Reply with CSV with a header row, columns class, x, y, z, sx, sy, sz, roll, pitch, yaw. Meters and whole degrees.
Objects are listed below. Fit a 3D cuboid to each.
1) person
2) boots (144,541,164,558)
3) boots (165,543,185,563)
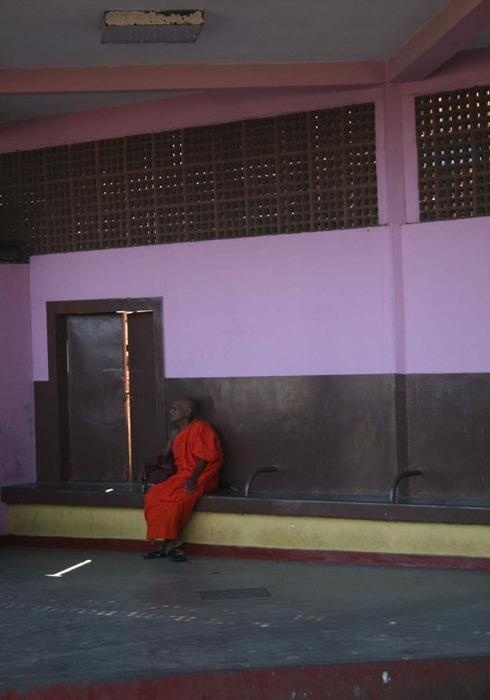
class,x,y,z,sx,sy,sz,roll,pitch,yaw
person,-0.491,0.913,5.832,0.506,1.102,0.653,-4,-3,34
boots,-0.668,1.433,5.765,0.241,0.087,0.082,-1,-4,28
boots,-0.477,1.414,5.579,0.069,0.078,0.193,1,1,-15
